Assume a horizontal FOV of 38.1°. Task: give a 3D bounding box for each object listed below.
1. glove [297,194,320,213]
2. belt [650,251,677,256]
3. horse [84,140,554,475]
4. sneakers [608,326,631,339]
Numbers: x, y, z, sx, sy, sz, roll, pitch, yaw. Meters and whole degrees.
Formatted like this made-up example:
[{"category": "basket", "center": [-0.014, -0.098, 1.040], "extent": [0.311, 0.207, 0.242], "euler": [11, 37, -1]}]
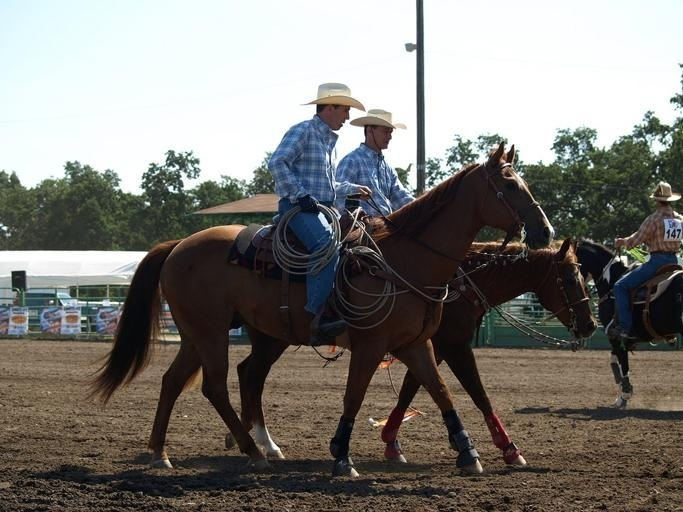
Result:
[{"category": "glove", "center": [-0.365, -0.567, 10.824], "extent": [0.161, 0.194, 0.086], "euler": [-17, 12, -3]}, {"category": "belt", "center": [4.472, -0.027, 13.654], "extent": [0.367, 0.056, 0.117], "euler": [-2, -1, -7]}, {"category": "horse", "center": [-0.323, 0.689, 11.330], "extent": [5.636, 3.492, 1.232], "euler": [-2, -5, 16]}, {"category": "sneakers", "center": [3.883, 1.093, 13.813], "extent": [0.340, 0.140, 0.121], "euler": [18, -5, 15]}]
